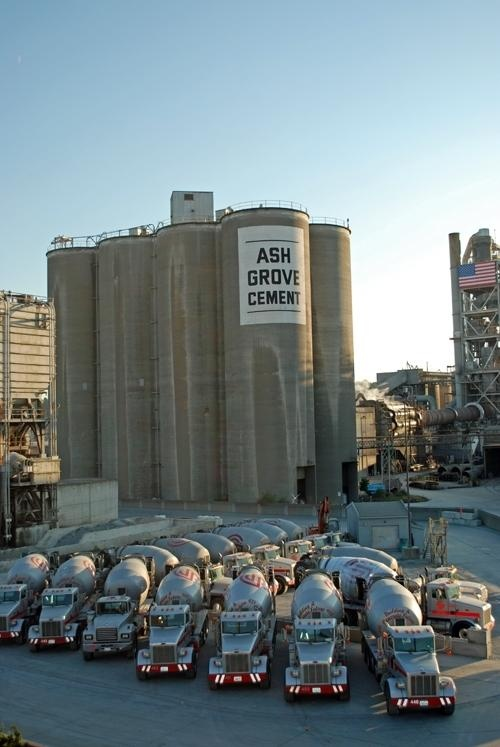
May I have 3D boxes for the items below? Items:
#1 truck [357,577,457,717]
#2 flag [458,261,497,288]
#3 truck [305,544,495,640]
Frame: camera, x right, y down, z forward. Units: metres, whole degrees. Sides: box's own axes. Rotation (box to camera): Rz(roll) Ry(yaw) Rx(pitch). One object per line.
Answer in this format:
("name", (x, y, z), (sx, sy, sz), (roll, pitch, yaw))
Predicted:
("truck", (4.688, 8.166, 27.799), (1.651, 2.340, 6.405), (-1, -8, 0))
("flag", (26.125, -11.266, 107.330), (1.229, 3.159, 4.825), (-1, 4, -36))
("truck", (5.786, 8.444, 34.966), (7.864, 2.607, 2.624), (0, 4, 45))
